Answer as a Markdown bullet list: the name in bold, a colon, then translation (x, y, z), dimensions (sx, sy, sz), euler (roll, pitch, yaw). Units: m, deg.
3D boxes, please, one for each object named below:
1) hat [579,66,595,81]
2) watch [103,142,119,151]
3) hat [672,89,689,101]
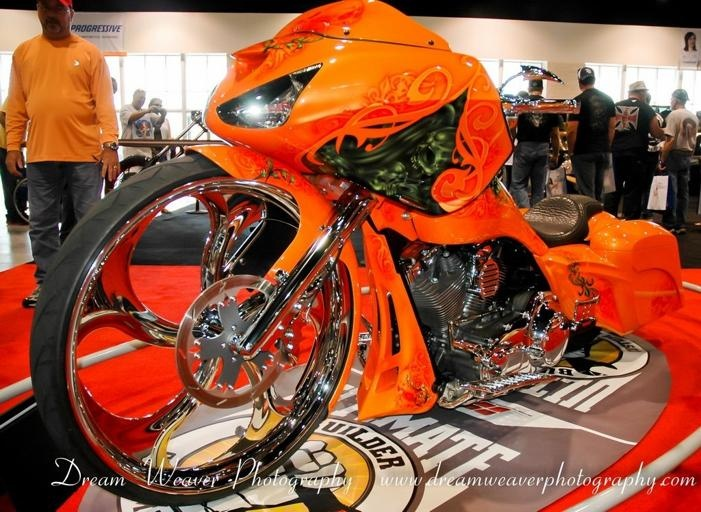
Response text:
- **hat**: translation (3.244, -2.503, 5.856), dimensions (0.208, 0.137, 0.255), euler (-1, 22, 6)
- **watch**: translation (-1.727, -0.793, 3.077), dimensions (0.070, 0.036, 0.065), euler (1, 12, 40)
- **hat**: translation (5.995, -2.930, 7.751), dimensions (0.209, 0.153, 0.298), euler (33, 38, 25)
